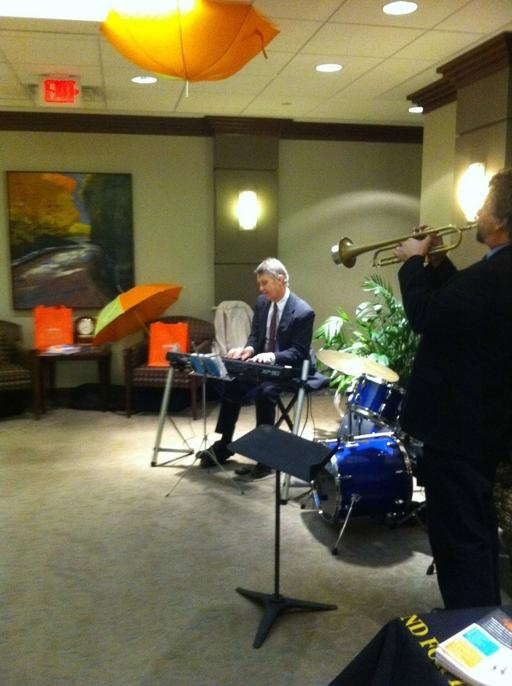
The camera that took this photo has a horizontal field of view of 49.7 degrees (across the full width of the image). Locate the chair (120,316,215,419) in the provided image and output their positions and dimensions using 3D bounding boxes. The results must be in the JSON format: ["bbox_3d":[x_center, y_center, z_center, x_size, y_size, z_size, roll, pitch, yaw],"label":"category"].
[{"bbox_3d":[-0.911,0.209,5.475,1.020,1.206,1.040,1,4,3],"label":"chair"}]

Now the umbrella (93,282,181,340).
[{"bbox_3d":[-1.005,-0.234,4.597,0.645,0.499,1.199,1,5,2],"label":"umbrella"}]

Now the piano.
[{"bbox_3d":[-0.155,0.166,3.380,0.550,0.222,0.752,-2,5,-30],"label":"piano"}]

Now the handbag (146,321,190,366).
[{"bbox_3d":[-0.811,0.015,5.059,0.468,0.507,0.186,0,-9,-1],"label":"handbag"}]

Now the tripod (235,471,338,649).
[{"bbox_3d":[0.047,0.722,2.053,0.436,0.557,0.362,-4,7,-41],"label":"tripod"}]

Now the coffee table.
[{"bbox_3d":[-1.788,0.280,5.316,0.687,0.591,0.658,-1,4,-1],"label":"coffee table"}]
